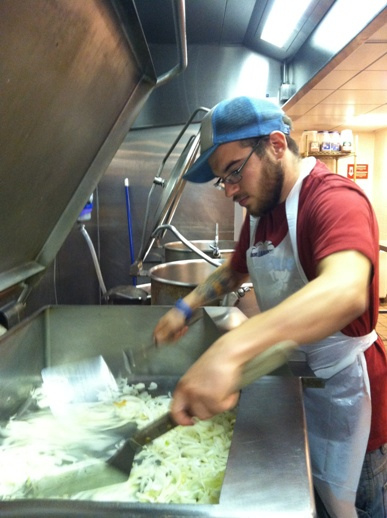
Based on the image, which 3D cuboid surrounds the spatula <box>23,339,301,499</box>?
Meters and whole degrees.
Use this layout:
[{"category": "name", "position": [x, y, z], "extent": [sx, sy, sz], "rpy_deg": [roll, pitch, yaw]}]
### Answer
[{"category": "spatula", "position": [-0.067, 0.285, 0.715], "extent": [0.414, 0.145, 0.344], "rpy_deg": [5, 12, 8]}]
